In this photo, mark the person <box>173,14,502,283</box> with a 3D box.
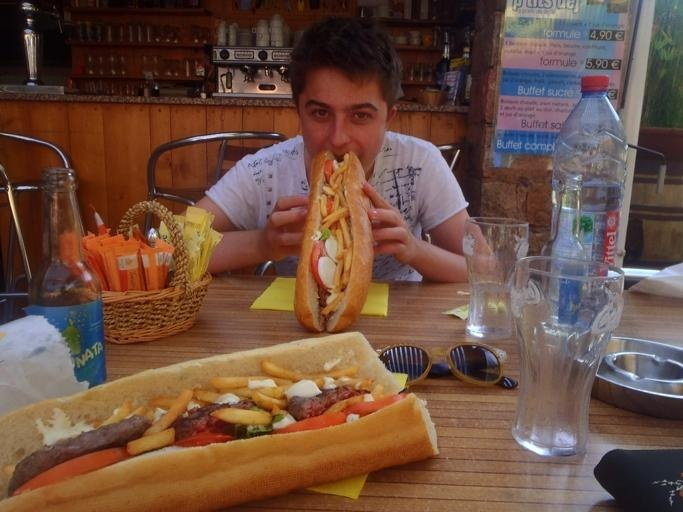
[{"bbox_3d":[0.009,-0.389,2.217,0.858,1.152,0.446,1,-3,2],"label":"person"}]

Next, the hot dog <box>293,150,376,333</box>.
[{"bbox_3d":[-0.009,-0.040,1.628,0.173,0.168,0.540,-10,53,17],"label":"hot dog"}]

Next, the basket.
[{"bbox_3d":[-0.470,0.015,1.428,0.276,0.281,0.320,12,14,30],"label":"basket"}]

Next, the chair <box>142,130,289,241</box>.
[{"bbox_3d":[-0.892,-0.437,3.295,0.552,0.676,0.573,-9,25,-27],"label":"chair"}]
